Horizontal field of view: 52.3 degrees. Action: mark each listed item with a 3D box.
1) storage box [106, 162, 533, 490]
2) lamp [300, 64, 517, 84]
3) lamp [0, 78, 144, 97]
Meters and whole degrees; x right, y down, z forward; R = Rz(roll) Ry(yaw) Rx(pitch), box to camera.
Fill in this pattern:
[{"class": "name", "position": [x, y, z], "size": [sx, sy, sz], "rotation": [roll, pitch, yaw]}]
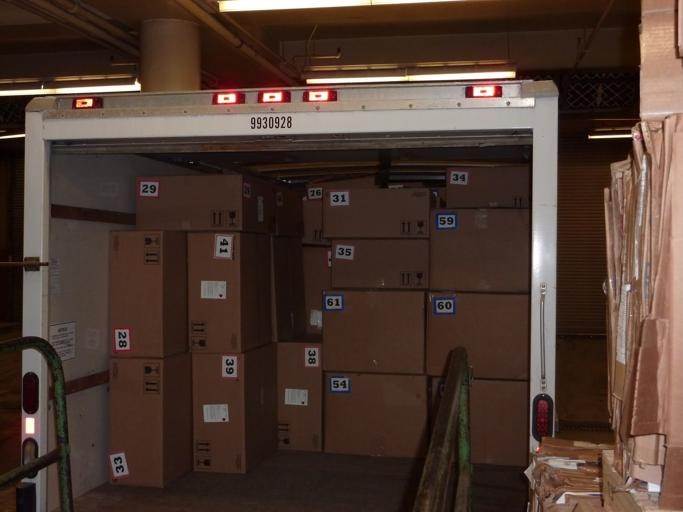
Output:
[{"class": "storage box", "position": [0.401, 0.416, 7.194], "size": [4.075, 3.252, 2.220], "rotation": [1, 2, 11]}, {"class": "lamp", "position": [0.904, -2.307, 8.911], "size": [2.553, 0.259, 0.528], "rotation": [3, 6, 9]}, {"class": "lamp", "position": [-3.503, -2.224, 9.159], "size": [1.895, 0.214, 0.400], "rotation": [4, 6, 16]}]
